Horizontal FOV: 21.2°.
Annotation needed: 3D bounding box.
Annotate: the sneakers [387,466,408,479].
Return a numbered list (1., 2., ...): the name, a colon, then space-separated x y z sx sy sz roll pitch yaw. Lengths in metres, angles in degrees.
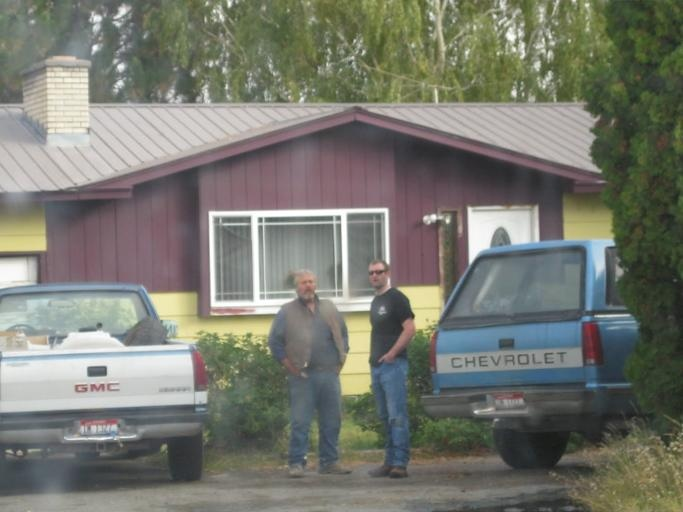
1. sneakers: 0.755 2.852 24.293 0.204 0.153 0.131 8 -6 -9

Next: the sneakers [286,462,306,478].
1. sneakers: -0.601 2.843 24.512 0.185 0.249 0.536 1 -1 -4

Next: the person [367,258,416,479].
1. person: 0.666 1.478 24.482 0.673 2.884 0.370 -2 -1 43

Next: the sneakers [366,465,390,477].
1. sneakers: 0.489 2.868 24.557 0.321 0.158 0.125 1 -3 4

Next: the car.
1. car: 2.507 1.085 23.692 1.747 1.769 3.154 -2 0 37

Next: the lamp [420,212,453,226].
1. lamp: 1.562 -0.608 29.890 0.567 0.199 0.145 0 -2 -40

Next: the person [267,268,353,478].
1. person: -0.421 1.556 24.671 1.039 2.743 0.449 -1 -1 -4

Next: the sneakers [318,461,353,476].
1. sneakers: -0.080 2.830 24.687 0.437 0.195 0.170 -1 -1 -7
